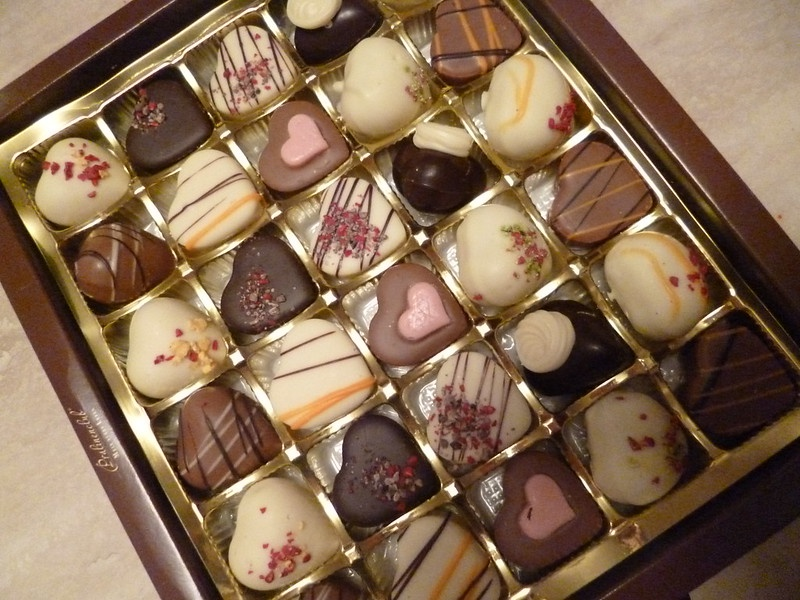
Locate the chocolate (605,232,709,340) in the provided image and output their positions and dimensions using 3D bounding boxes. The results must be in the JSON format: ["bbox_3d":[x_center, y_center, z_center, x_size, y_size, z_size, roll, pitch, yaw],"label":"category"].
[{"bbox_3d":[0.769,-0.057,2.080,0.254,0.097,0.332,-31,77,-1],"label":"chocolate"}]

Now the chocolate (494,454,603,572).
[{"bbox_3d":[0.399,0.616,2.052,0.309,0.093,0.317,-34,77,-2],"label":"chocolate"}]

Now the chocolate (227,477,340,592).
[{"bbox_3d":[-0.368,0.706,2.087,0.310,0.084,0.314,-43,77,-4],"label":"chocolate"}]

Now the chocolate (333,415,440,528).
[{"bbox_3d":[-0.075,0.518,2.109,0.304,0.061,0.312,-35,77,-3],"label":"chocolate"}]

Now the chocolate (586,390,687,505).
[{"bbox_3d":[0.697,0.435,2.057,0.276,0.042,0.321,-1,78,5],"label":"chocolate"}]

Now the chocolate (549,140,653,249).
[{"bbox_3d":[0.582,-0.326,2.145,0.296,0.076,0.293,-30,77,-1],"label":"chocolate"}]
